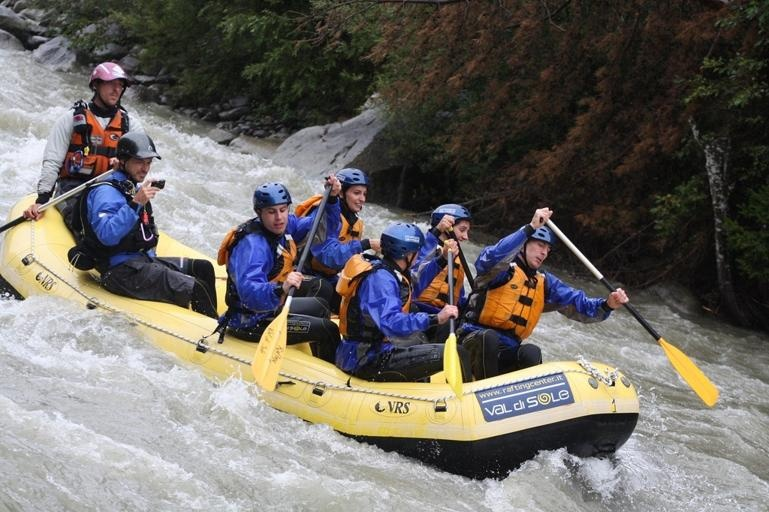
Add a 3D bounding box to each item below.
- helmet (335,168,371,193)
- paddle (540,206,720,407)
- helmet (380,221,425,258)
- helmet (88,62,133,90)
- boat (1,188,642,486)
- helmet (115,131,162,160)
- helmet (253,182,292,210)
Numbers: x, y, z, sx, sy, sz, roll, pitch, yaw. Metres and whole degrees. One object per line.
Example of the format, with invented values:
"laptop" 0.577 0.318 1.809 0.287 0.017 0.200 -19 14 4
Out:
"helmet" -0.370 -0.861 10.019 0.310 0.292 0.239 -2 -2 37
"paddle" 3.346 0.656 11.657 3.278 0.350 0.219 47 -12 8
"helmet" 0.136 -0.164 8.805 0.299 0.314 0.396 6 -26 33
"helmet" -3.215 -2.068 10.303 0.414 0.353 0.358 7 20 -23
"boat" -1.172 1.208 9.326 6.885 1.395 2.625 26 6 22
"helmet" -2.674 -1.181 9.569 0.433 0.216 0.317 8 8 27
"helmet" -1.140 -0.615 8.854 0.243 0.335 0.173 -10 69 -45
